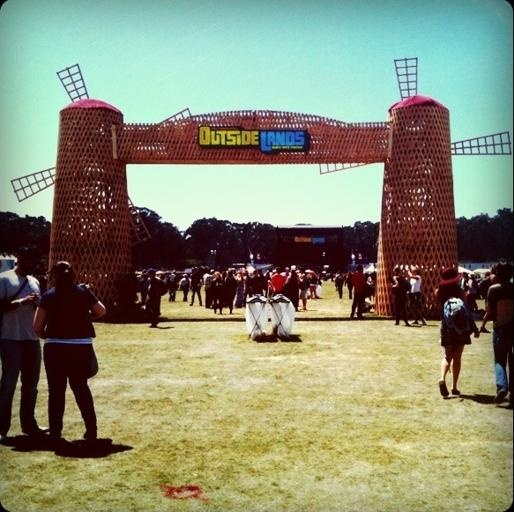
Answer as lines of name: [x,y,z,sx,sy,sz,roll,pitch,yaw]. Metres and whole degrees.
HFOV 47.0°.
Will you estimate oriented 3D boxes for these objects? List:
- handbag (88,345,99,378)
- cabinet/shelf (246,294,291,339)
handbag: [-1.912,1.245,6.959,0.095,0.485,0.834,0,1,-14]
cabinet/shelf: [0.382,1.553,15.750,1.029,1.310,1.036,0,2,6]
